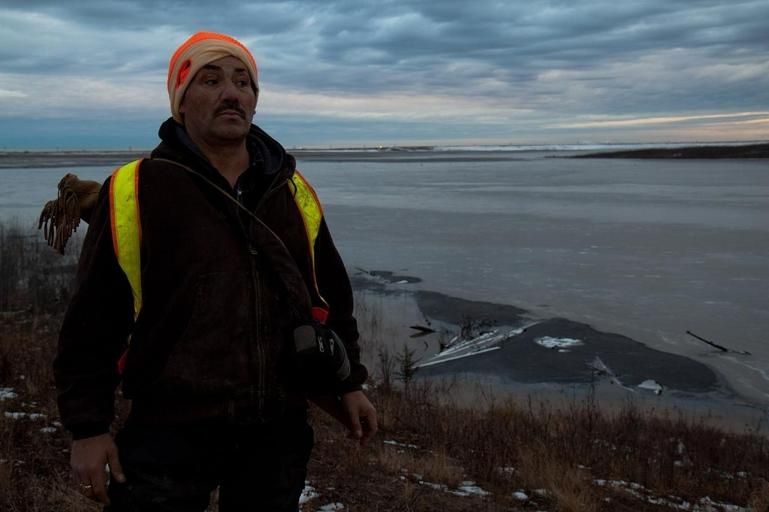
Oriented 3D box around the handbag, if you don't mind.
[{"bbox_3d":[-0.422,0.615,3.509,0.384,0.420,0.415,1,-15,-7],"label":"handbag"}]
